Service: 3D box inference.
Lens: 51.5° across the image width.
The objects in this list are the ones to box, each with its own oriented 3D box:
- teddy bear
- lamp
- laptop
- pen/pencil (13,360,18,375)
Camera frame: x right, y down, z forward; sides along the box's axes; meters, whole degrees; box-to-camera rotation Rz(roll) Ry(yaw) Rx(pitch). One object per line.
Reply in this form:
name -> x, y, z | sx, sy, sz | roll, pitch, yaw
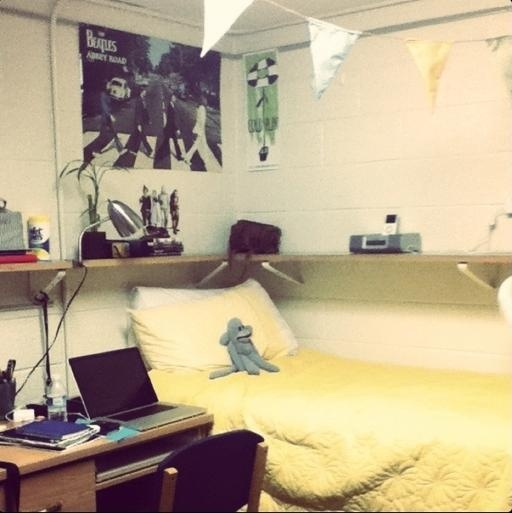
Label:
teddy bear -> -0.076, 0.442, 2.539 | 0.325, 0.239, 0.254 | -6, 9, -41
lamp -> -0.692, -0.128, 2.501 | 0.327, 0.280, 0.487 | -3, 7, -12
laptop -> -0.501, 0.511, 2.081 | 0.333, 0.194, 0.330 | -2, 2, 33
pen/pencil -> -1.082, 0.498, 2.400 | 0.010, 0.040, 0.020 | -4, 8, -15
